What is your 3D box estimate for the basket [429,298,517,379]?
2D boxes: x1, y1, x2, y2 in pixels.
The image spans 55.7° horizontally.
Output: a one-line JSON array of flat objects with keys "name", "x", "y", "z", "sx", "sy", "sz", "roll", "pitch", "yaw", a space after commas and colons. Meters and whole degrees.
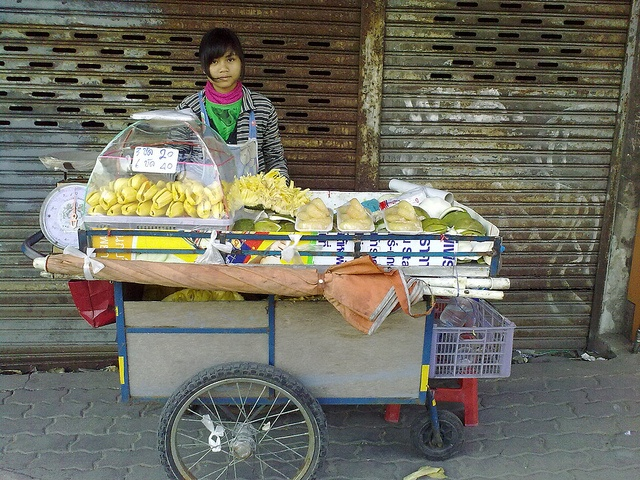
[{"name": "basket", "x": 1.016, "y": 0.683, "z": 4.114, "sx": 0.507, "sy": 0.281, "sz": 0.709, "roll": 0, "pitch": 1, "yaw": 5}]

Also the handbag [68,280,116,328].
[{"name": "handbag", "x": -1.484, "y": 0.414, "z": 4.117, "sx": 0.331, "sy": 0.334, "sz": 0.374, "roll": -6, "pitch": 8, "yaw": -36}]

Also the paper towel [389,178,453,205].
[{"name": "paper towel", "x": 0.699, "y": -0.365, "z": 4.370, "sx": 0.482, "sy": 0.177, "sz": 0.474, "roll": -8, "pitch": 12, "yaw": -43}]

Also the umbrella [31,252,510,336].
[{"name": "umbrella", "x": -0.215, "y": 0.329, "z": 3.715, "sx": 2.578, "sy": 0.521, "sz": 0.463, "roll": 0, "pitch": 29, "yaw": 1}]

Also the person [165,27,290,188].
[{"name": "person", "x": -0.667, "y": -1.012, "z": 4.519, "sx": 0.739, "sy": 1.078, "sz": 0.409, "roll": -5, "pitch": 18, "yaw": -9}]
